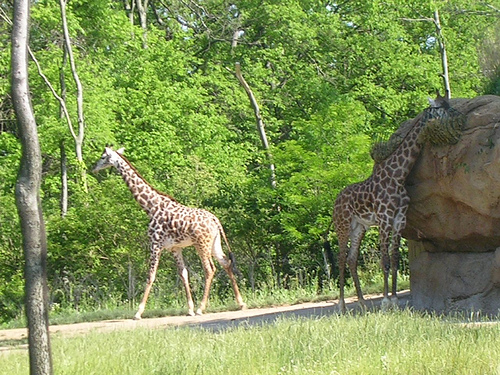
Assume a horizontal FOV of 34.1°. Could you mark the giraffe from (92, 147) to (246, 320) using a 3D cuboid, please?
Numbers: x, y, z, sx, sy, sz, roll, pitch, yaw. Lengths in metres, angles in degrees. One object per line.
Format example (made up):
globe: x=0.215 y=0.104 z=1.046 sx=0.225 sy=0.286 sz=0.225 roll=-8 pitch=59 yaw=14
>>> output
giraffe: x=-2.081 y=1.127 z=21.388 sx=3.111 sy=4.493 sz=1.028 roll=-3 pitch=-6 yaw=5

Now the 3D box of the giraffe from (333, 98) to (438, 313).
giraffe: x=2.970 y=0.610 z=18.854 sx=2.351 sy=4.331 sz=0.775 roll=-9 pitch=-9 yaw=42
